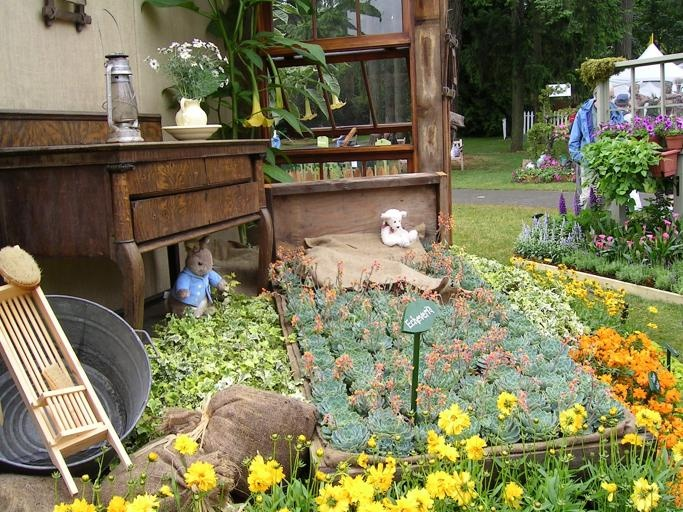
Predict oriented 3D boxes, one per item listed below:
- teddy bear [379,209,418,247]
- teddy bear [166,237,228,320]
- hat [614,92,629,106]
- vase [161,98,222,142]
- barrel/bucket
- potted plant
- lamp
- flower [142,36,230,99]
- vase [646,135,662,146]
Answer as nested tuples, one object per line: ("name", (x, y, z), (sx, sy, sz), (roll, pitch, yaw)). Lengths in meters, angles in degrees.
("teddy bear", (0.447, -0.250, 4.379), (0.303, 0.330, 0.269), (14, 24, 32))
("teddy bear", (-0.909, 0.121, 3.320), (0.330, 0.488, 0.261), (-6, 15, -40))
("hat", (3.566, -1.983, 6.735), (0.199, 0.171, 0.193), (-1, 13, 5))
("vase", (-0.998, -0.903, 3.510), (0.421, 0.256, 0.403), (-14, 20, -40))
("barrel/bucket", (-1.143, 0.617, 2.312), (0.683, 0.259, 0.662), (25, 41, -24))
("potted plant", (3.039, -0.938, 5.767), (0.783, 0.720, 0.591), (6, 15, 33))
("lamp", (-1.167, -0.828, 2.769), (0.166, 0.452, 0.366), (-8, 14, -22))
("flower", (-1.022, -1.222, 3.630), (0.484, 0.342, 0.445), (2, 5, -36))
("vase", (3.434, -1.281, 5.801), (0.130, 0.108, 0.135), (3, 17, 29))
